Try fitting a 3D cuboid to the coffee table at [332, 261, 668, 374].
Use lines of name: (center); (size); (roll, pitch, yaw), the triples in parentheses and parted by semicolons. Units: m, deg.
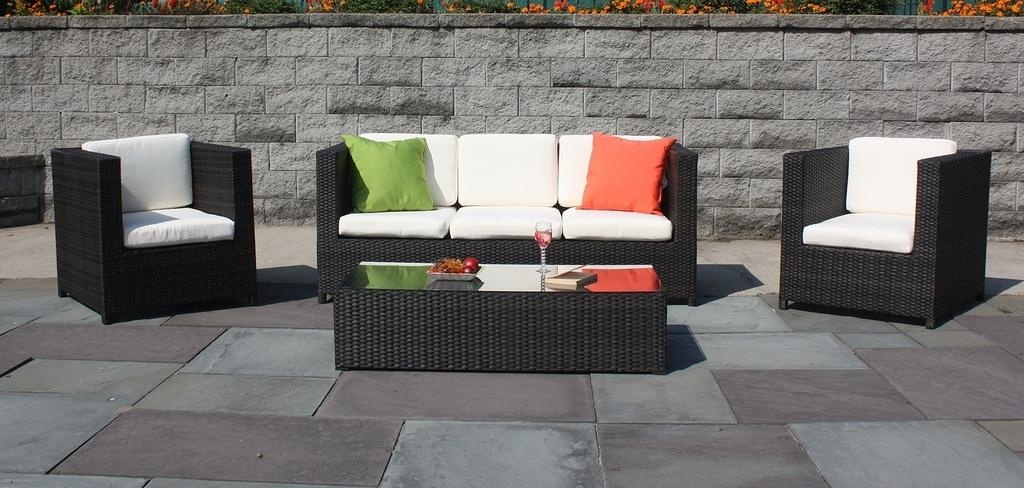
coffee table: (-0.087, 0.561, 6.253); (2.629, 0.431, 0.683); (-1, 22, 1)
